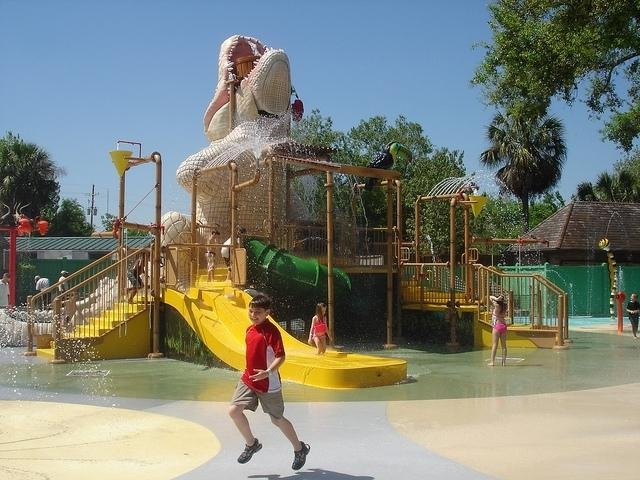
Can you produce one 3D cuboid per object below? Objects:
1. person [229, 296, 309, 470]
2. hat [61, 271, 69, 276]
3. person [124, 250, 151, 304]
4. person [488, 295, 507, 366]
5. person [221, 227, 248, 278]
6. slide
[{"bbox_3d":[-0.752,1.988,11.200,1.019,2.453,0.443,-1,-4,-4],"label":"person"},{"bbox_3d":[-9.569,1.249,29.963,0.337,0.141,0.365,-2,-5,-4],"label":"hat"},{"bbox_3d":[-4.582,0.929,20.168,0.502,1.320,2.517,0,-6,-14],"label":"person"},{"bbox_3d":[4.113,2.101,18.462,0.412,1.523,2.008,-2,-5,12],"label":"person"},{"bbox_3d":[-2.142,0.304,19.794,0.594,1.383,2.581,0,-6,-7],"label":"person"},{"bbox_3d":[-1.379,1.855,17.616,1.806,2.322,6.835,-2,-1,-37],"label":"slide"}]
